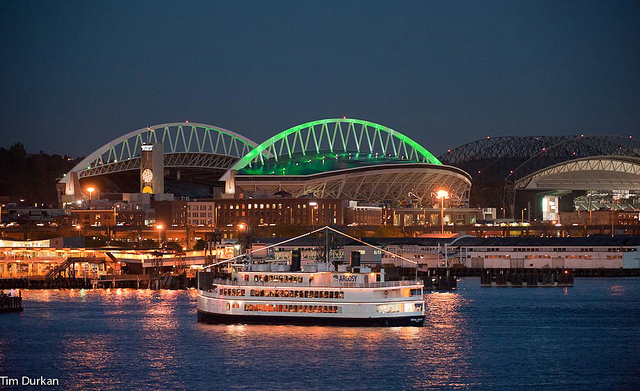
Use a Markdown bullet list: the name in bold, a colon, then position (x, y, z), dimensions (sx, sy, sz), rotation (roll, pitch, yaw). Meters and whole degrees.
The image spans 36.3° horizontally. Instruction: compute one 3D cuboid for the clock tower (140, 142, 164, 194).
- **clock tower**: position (-35.427, -6.185, 214.023), dimensions (4.692, 8.345, 5.047), rotation (-3, 2, -7)
